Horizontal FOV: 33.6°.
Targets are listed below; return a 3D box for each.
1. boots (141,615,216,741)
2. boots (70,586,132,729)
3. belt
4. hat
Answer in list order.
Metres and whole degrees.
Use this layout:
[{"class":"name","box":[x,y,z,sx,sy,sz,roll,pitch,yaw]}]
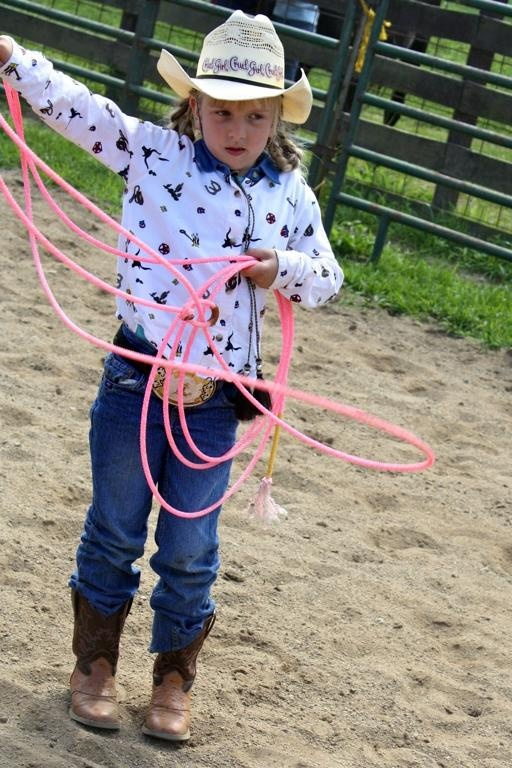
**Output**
[{"class":"boots","box":[-0.191,0.706,1.947,0.094,0.208,0.241,10,-4,-2]},{"class":"boots","box":[-0.355,0.629,1.914,0.130,0.245,0.274,5,5,-15]},{"class":"belt","box":[-0.203,-0.029,1.769,0.158,0.069,0.204,19,7,-43]},{"class":"hat","box":[-0.019,-0.631,1.768,0.284,0.141,0.310,3,2,-4]}]
